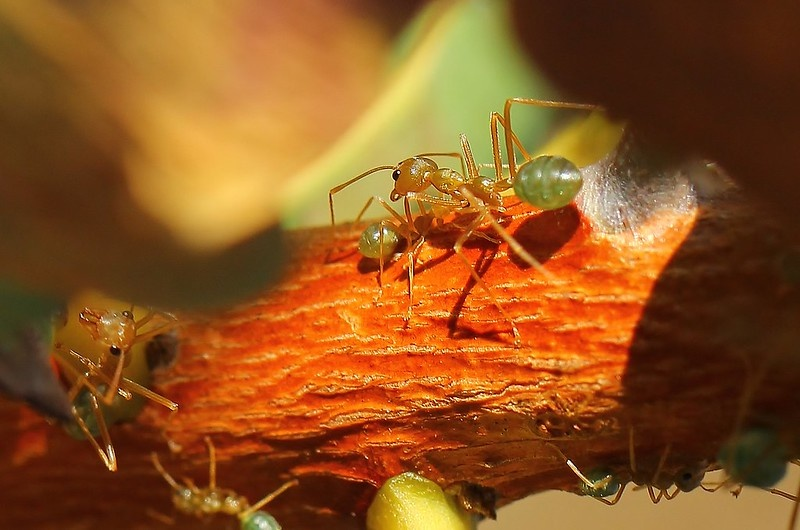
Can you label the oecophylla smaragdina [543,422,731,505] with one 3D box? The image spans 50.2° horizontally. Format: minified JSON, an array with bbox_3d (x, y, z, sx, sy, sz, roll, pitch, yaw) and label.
[{"bbox_3d":[0.769,0.647,2.725,0.596,0.273,0.125,-3,50,8],"label":"oecophylla smaragdina"}]
